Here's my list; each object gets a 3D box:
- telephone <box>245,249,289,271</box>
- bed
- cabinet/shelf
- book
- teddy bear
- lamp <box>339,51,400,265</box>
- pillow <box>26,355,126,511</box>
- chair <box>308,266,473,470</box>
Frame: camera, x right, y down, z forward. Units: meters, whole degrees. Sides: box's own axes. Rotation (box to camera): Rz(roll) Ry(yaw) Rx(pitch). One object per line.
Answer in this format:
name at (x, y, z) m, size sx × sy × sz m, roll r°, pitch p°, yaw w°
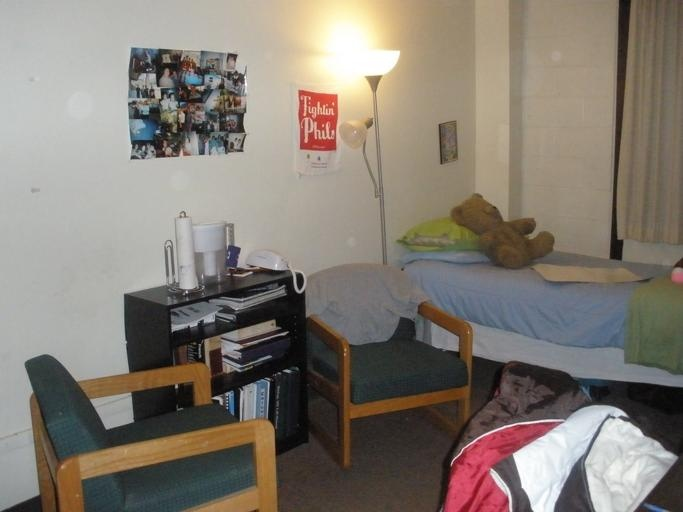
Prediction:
telephone at (-0.451, 0.022, 3.362) m, size 0.335 × 0.117 × 0.107 m, roll 3°, pitch 12°, yaw 36°
bed at (1.252, 0.211, 3.757) m, size 1.264 × 0.382 × 0.875 m, roll 10°, pitch 14°, yaw 37°
cabinet/shelf at (-0.687, 0.530, 2.942) m, size 0.852 × 1.076 × 0.355 m, roll -10°, pitch 14°, yaw -42°
book at (-0.594, 0.545, 3.000) m, size 0.347 × 1.078 × 0.762 m, roll 3°, pitch 8°, yaw 39°
teddy bear at (1.165, -0.248, 4.144) m, size 0.559 × 0.207 × 0.566 m, roll 34°, pitch 26°, yaw 28°
lamp at (0.286, -0.679, 4.074) m, size 0.347 × 1.569 × 0.581 m, roll 4°, pitch 12°, yaw 35°
pillow at (-1.127, 0.754, 2.352) m, size 0.213 × 0.542 × 0.620 m, roll -17°, pitch 59°, yaw -23°
chair at (0.204, 0.534, 3.574) m, size 1.077 × 1.150 × 1.009 m, roll -5°, pitch 9°, yaw -24°
